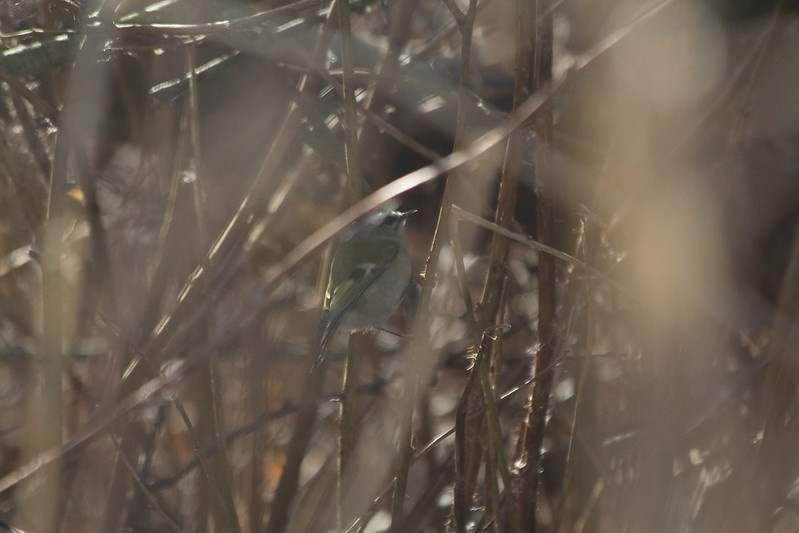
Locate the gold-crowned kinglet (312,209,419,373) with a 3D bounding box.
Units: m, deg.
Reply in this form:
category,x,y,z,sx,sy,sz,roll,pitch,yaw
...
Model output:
category,x,y,z,sx,sy,sz,roll,pitch,yaw
gold-crowned kinglet,-0.077,0.047,2.568,0.204,0.478,0.221,13,-49,3
